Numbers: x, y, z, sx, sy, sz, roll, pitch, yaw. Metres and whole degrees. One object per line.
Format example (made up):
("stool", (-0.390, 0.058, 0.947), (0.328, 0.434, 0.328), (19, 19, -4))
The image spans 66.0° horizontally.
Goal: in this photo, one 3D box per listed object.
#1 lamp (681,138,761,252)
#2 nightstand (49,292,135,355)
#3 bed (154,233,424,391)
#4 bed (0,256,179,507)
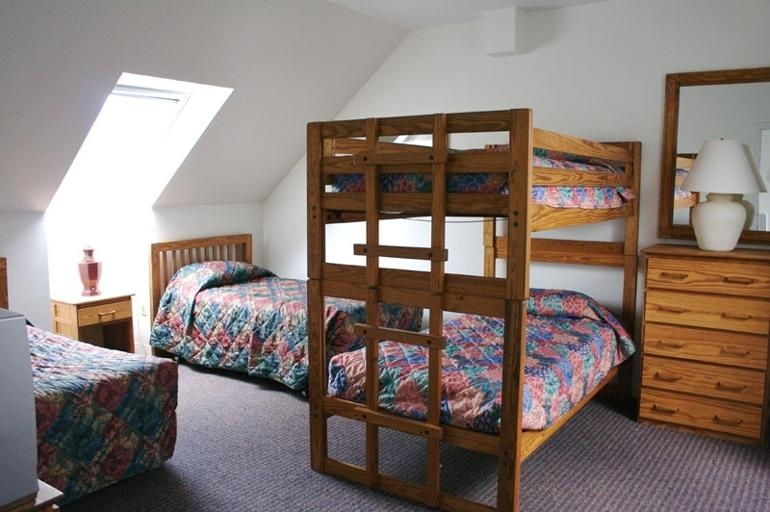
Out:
("lamp", (2.502, -0.447, 4.351), (0.554, 0.820, 0.300), (-1, 4, -21))
("nightstand", (-2.610, 0.631, 5.297), (0.427, 0.487, 0.549), (7, 5, 30))
("bed", (-0.970, 0.430, 5.568), (2.159, 1.146, 1.486), (5, 9, 33))
("bed", (-2.177, 0.893, 4.132), (1.527, 1.007, 0.849), (7, 12, 34))
